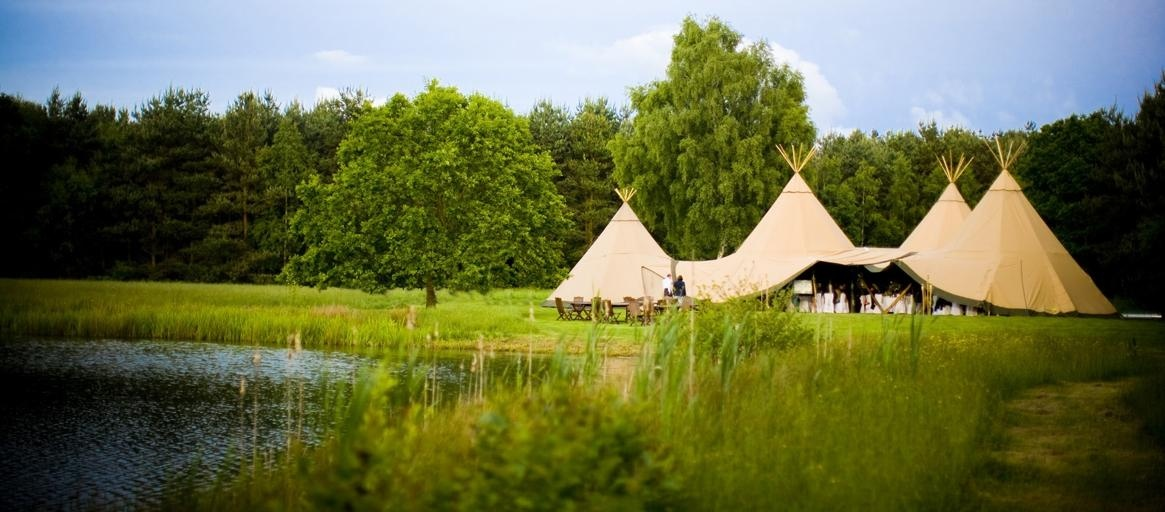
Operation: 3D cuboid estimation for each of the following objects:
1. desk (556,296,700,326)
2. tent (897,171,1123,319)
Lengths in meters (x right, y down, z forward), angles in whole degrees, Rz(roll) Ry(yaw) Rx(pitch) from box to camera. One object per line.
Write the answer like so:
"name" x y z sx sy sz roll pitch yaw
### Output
"desk" 2.435 2.909 48.473 8.230 2.115 2.960 -1 0 -7
"tent" 24.939 -2.298 55.794 10.636 7.002 13.408 5 25 9
